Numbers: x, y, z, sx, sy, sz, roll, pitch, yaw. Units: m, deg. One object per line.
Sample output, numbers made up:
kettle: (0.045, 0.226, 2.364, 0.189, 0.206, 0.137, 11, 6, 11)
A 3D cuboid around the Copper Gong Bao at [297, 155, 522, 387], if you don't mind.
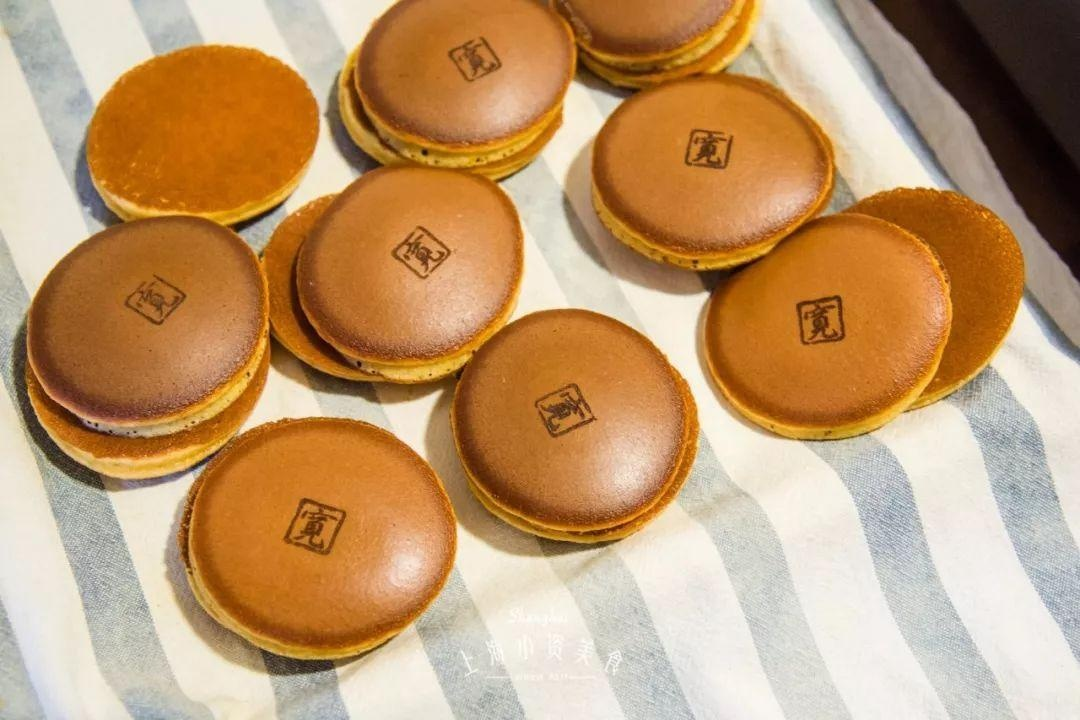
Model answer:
Copper Gong Bao: (-0.290, -0.217, 2.260, 0.489, 0.096, 0.460, 3, 74, 2)
